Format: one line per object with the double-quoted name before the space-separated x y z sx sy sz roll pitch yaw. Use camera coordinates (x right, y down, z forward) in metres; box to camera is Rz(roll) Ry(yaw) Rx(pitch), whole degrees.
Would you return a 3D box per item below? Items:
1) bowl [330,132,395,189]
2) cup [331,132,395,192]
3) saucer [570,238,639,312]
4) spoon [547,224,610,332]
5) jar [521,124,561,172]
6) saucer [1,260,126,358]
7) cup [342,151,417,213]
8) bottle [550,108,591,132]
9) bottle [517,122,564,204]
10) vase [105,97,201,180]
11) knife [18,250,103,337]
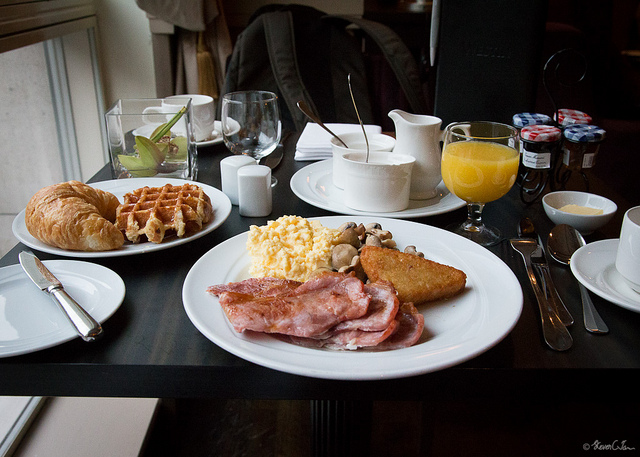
"bowl" 0.121 -0.217 1.355 0.166 0.132 0.180 -1 15 0
"cup" 0.114 -0.216 1.374 0.173 0.134 0.182 -1 22 0
"saucer" 0.563 0.084 0.951 0.118 0.051 0.210 3 25 12
"spoon" 0.536 0.099 0.992 0.064 0.039 0.353 -11 30 21
"jar" 0.595 -0.219 1.277 0.105 0.103 0.103 -7 25 3
"saucer" -0.493 0.132 0.913 0.210 0.076 0.255 -15 27 -27
"cup" 0.156 -0.127 1.291 0.194 0.138 0.187 0 17 0
"bottle" 0.694 -0.310 1.327 0.101 0.027 0.101 -3 31 2
"bottle" 0.604 -0.181 1.294 0.123 0.171 0.122 -4 22 2
"vase" -0.519 -0.219 1.473 0.247 0.248 0.238 -3 -9 -21
"knife" -0.505 0.114 0.897 0.295 0.027 0.039 33 46 27
